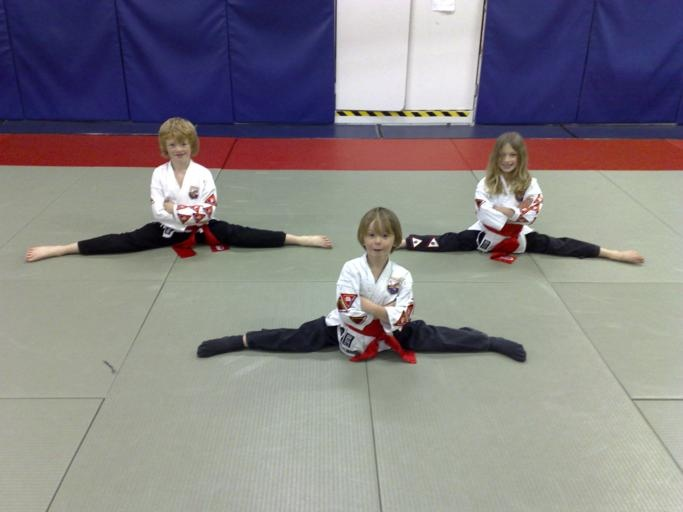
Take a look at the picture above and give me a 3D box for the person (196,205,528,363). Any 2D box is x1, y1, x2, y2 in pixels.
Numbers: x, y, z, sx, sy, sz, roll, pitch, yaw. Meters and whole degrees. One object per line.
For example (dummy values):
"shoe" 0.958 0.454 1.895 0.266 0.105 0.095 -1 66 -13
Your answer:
"person" 0.156 0.187 3.692 2.103 0.914 0.593 1 5 6

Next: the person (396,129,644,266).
"person" 1.440 -0.486 4.688 1.930 0.983 0.565 3 18 22

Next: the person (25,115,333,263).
"person" -1.355 -0.572 4.734 2.456 1.093 0.618 -3 18 -23
